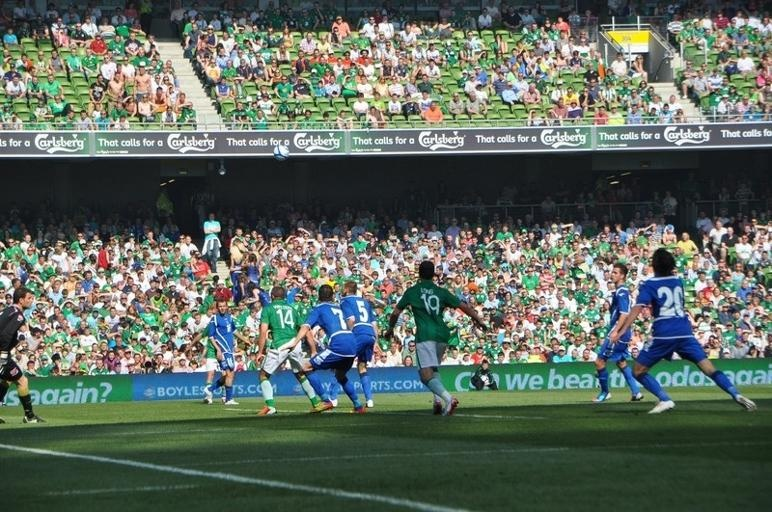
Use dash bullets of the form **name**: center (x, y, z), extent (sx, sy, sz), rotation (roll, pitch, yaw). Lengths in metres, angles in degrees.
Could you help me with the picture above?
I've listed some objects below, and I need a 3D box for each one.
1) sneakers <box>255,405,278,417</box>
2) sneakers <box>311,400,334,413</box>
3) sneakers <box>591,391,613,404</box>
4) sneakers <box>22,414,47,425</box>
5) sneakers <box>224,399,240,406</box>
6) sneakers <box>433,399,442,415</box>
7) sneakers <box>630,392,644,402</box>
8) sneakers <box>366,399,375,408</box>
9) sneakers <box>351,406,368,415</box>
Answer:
- **sneakers**: center (-3.145, 4.110, 42.476), extent (0.518, 0.243, 0.200), rotation (-2, 0, 9)
- **sneakers**: center (-1.653, 3.963, 42.297), extent (0.526, 0.242, 0.267), rotation (-6, -3, 8)
- **sneakers**: center (5.892, 3.887, 43.979), extent (0.251, 0.300, 0.646), rotation (-5, -4, 44)
- **sneakers**: center (-9.165, 4.294, 42.163), extent (0.651, 0.289, 0.227), rotation (3, 1, -8)
- **sneakers**: center (-4.408, 4.181, 45.895), extent (0.346, 0.161, 0.166), rotation (1, 1, -1)
- **sneakers**: center (1.318, 3.848, 40.826), extent (0.270, 0.310, 0.539), rotation (-4, 15, 2)
- **sneakers**: center (6.882, 3.849, 43.865), extent (0.293, 0.136, 0.217), rotation (-6, 4, -34)
- **sneakers**: center (-0.434, 4.007, 43.523), extent (0.223, 0.158, 0.386), rotation (2, 6, -5)
- **sneakers**: center (-0.697, 4.039, 42.092), extent (0.309, 0.140, 0.164), rotation (6, 12, 38)
